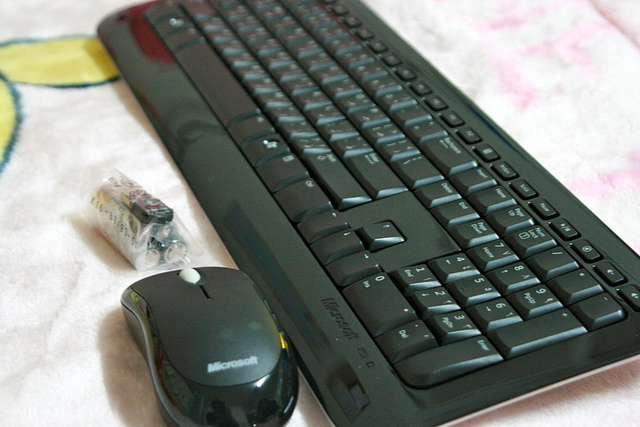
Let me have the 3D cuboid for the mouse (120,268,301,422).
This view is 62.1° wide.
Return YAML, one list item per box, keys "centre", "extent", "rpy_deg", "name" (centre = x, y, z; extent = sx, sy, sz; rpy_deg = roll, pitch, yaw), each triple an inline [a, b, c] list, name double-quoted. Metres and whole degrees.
- centre: [-0.089, 0.097, 0.432]
  extent: [0.114, 0.044, 0.138]
  rpy_deg: [-15, 50, -25]
  name: "mouse"
